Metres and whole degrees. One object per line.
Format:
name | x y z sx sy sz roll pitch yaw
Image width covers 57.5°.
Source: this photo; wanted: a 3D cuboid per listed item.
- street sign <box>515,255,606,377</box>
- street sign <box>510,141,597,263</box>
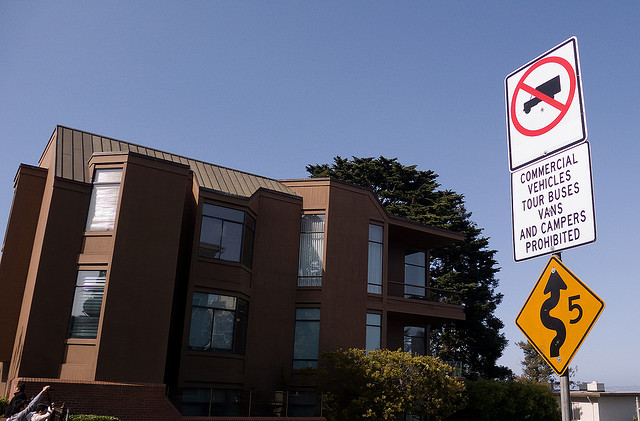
street sign | 4.614 2.029 11.286 0.514 2.269 1.445 16 -26 -32
street sign | 4.541 -0.186 11.276 0.268 2.392 2.065 22 -26 -38
